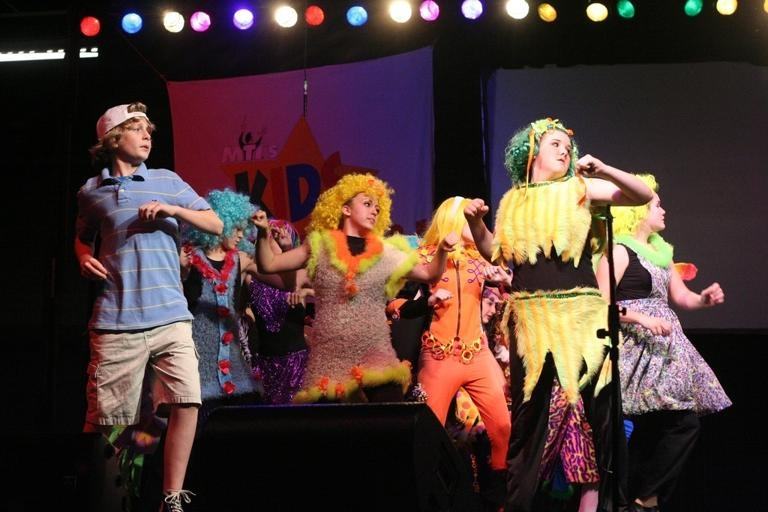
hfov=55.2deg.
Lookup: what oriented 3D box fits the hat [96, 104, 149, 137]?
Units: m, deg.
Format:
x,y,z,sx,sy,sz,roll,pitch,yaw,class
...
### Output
x,y,z,sx,sy,sz,roll,pitch,yaw,class
-1.835,-0.939,5.113,0.311,0.168,0.221,-37,3,-13,hat
